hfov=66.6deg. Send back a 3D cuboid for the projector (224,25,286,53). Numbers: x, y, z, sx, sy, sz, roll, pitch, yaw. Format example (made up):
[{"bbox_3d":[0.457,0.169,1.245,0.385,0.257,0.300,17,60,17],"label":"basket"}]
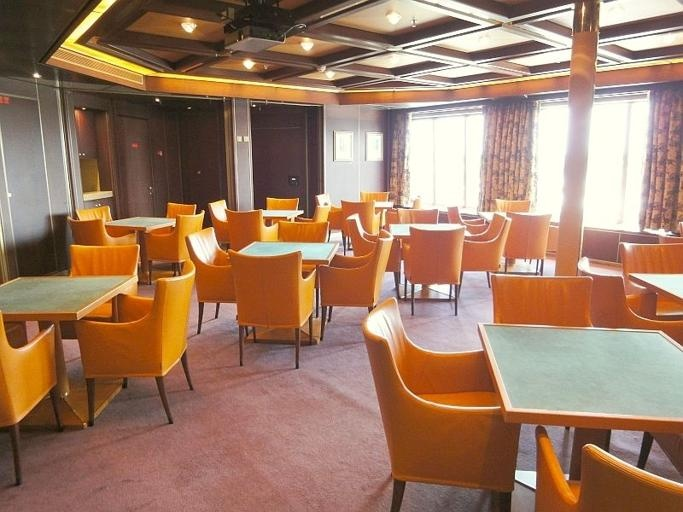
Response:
[{"bbox_3d":[-0.963,-2.381,5.697,0.426,0.183,0.617,-9,13,-38],"label":"projector"}]

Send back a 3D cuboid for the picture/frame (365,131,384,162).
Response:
[{"bbox_3d":[0.724,-2.599,12.166,0.683,0.815,0.059,-6,8,-41],"label":"picture/frame"}]

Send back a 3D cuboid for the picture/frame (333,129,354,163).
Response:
[{"bbox_3d":[0.005,-2.493,11.661,0.735,0.849,0.058,-3,6,-41],"label":"picture/frame"}]
